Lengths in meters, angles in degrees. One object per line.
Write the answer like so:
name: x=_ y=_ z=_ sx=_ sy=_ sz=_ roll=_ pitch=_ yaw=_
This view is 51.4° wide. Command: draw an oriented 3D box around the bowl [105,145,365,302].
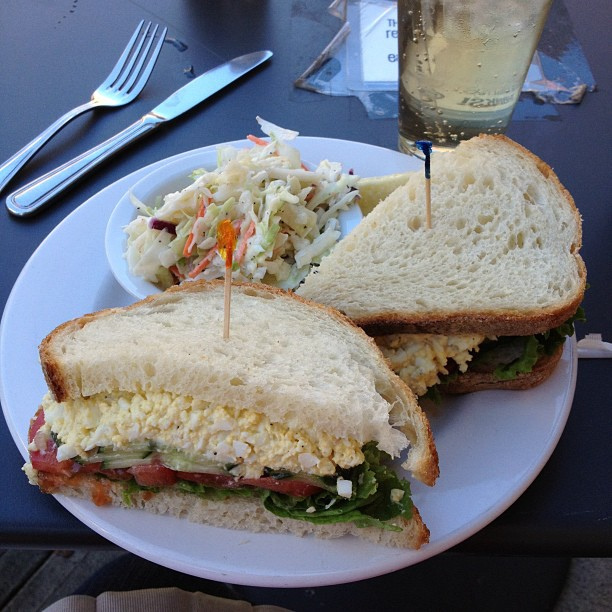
bowl: x=-0.257 y=-0.280 z=2.000 sx=0.668 sy=0.273 sz=0.632 roll=-2 pitch=50 yaw=3

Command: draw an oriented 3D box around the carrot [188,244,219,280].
carrot: x=-0.314 y=-0.139 z=1.972 sx=0.145 sy=0.028 sz=0.040 roll=-41 pitch=58 yaw=-2

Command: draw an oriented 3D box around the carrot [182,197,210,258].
carrot: x=-0.324 y=-0.240 z=2.004 sx=0.062 sy=0.035 sz=0.207 roll=17 pitch=78 yaw=16

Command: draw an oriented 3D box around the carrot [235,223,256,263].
carrot: x=-0.168 y=-0.191 z=1.947 sx=0.042 sy=0.021 sz=0.134 roll=23 pitch=59 yaw=14

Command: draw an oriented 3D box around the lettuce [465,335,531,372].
lettuce: x=0.520 y=0.119 z=1.698 sx=0.129 sy=0.033 sz=0.115 roll=-21 pitch=27 yaw=14

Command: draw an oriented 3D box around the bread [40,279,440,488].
bread: x=-0.180 y=0.160 z=1.630 sx=1.167 sy=0.218 sz=0.456 roll=8 pitch=37 yaw=2

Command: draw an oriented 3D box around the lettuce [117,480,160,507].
lettuce: x=-0.398 y=0.448 z=1.520 sx=0.080 sy=0.018 sz=0.061 roll=0 pitch=67 yaw=-8

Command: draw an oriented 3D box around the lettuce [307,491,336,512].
lettuce: x=0.037 y=0.455 z=1.485 sx=0.059 sy=0.013 sz=0.040 roll=16 pitch=49 yaw=21

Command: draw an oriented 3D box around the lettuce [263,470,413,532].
lettuce: x=0.110 y=0.454 z=1.560 sx=0.309 sy=0.111 sz=0.215 roll=3 pitch=16 yaw=11
